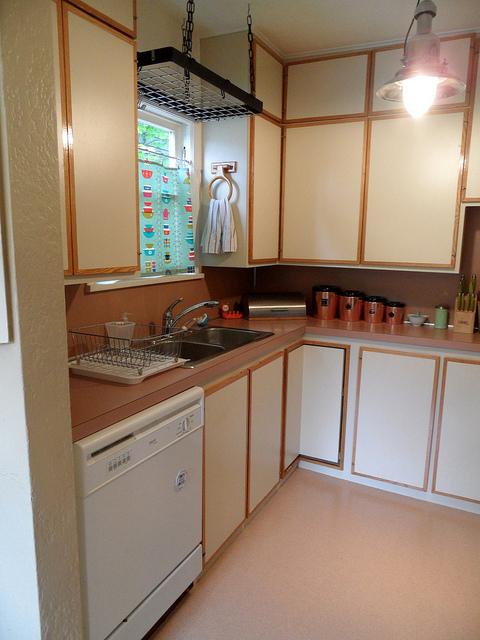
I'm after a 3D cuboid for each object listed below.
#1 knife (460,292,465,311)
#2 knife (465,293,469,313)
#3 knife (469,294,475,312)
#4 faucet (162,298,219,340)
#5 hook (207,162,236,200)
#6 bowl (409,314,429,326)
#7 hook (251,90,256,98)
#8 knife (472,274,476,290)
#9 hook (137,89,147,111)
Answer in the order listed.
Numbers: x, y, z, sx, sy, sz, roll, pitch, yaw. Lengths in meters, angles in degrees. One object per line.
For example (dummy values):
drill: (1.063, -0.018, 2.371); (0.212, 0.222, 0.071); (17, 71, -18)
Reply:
knife: (1.220, -0.101, 2.556); (0.018, 0.093, 0.073); (5, 8, 26)
knife: (1.229, -0.090, 2.518); (0.016, 0.096, 0.036); (5, 9, 30)
knife: (1.250, -0.091, 2.509); (0.018, 0.093, 0.039); (5, 9, 30)
faucet: (-0.268, -0.020, 2.325); (0.254, 0.180, 0.404); (0, 8, -13)
hook: (-0.097, -0.760, 2.513); (0.171, 0.256, 0.076); (4, 11, 25)
bowl: (1.071, 0.001, 2.770); (0.140, 0.062, 0.086); (-4, 9, -33)
hook: (0.065, -1.141, 2.354); (0.021, 0.035, 0.077); (-2, 10, -2)
knife: (1.287, -0.208, 2.567); (0.017, 0.087, 0.021); (3, -12, 13)
hook: (-0.406, -0.914, 1.941); (0.045, 0.099, 0.053); (0, 33, -9)
